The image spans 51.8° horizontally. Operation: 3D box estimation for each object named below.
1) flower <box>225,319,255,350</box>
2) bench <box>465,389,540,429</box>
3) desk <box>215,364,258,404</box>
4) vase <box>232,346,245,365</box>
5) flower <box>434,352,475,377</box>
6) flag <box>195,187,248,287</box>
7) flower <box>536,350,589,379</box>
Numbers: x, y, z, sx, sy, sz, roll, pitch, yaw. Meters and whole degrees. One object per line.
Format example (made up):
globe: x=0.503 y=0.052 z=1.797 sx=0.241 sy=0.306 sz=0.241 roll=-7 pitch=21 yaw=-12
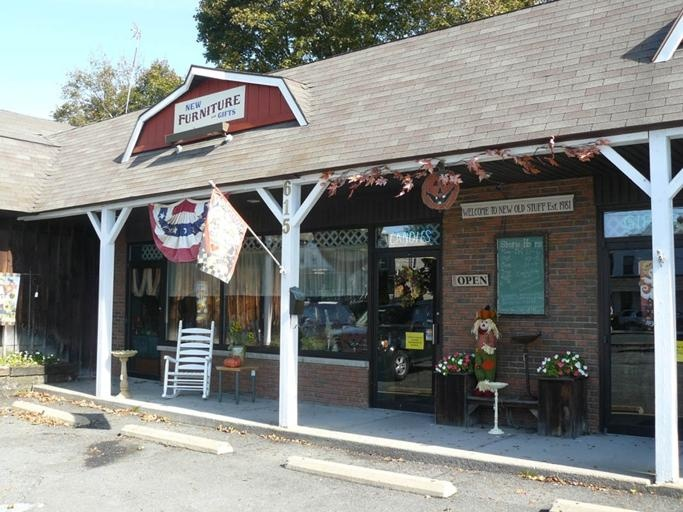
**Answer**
flower: x=-2.076 y=1.614 z=14.440 sx=0.600 sy=0.425 sz=0.535 roll=-2 pitch=-7 yaw=14
bench: x=2.540 y=2.430 z=11.106 sx=1.113 sy=0.606 sz=0.677 roll=-2 pitch=-8 yaw=15
desk: x=-2.096 y=2.508 z=13.661 sx=0.663 sy=0.666 sz=0.740 roll=-1 pitch=-11 yaw=-23
vase: x=-1.984 y=1.937 z=13.579 sx=0.294 sy=0.333 sz=0.292 roll=0 pitch=-2 yaw=24
flower: x=1.857 y=1.767 z=11.393 sx=0.418 sy=0.243 sz=0.404 roll=-2 pitch=-2 yaw=0
flag: x=-1.944 y=-0.386 z=11.447 sx=0.154 sy=1.167 sz=1.396 roll=-4 pitch=28 yaw=23
flower: x=3.409 y=1.665 z=10.762 sx=0.746 sy=0.407 sz=0.554 roll=-3 pitch=-8 yaw=19
